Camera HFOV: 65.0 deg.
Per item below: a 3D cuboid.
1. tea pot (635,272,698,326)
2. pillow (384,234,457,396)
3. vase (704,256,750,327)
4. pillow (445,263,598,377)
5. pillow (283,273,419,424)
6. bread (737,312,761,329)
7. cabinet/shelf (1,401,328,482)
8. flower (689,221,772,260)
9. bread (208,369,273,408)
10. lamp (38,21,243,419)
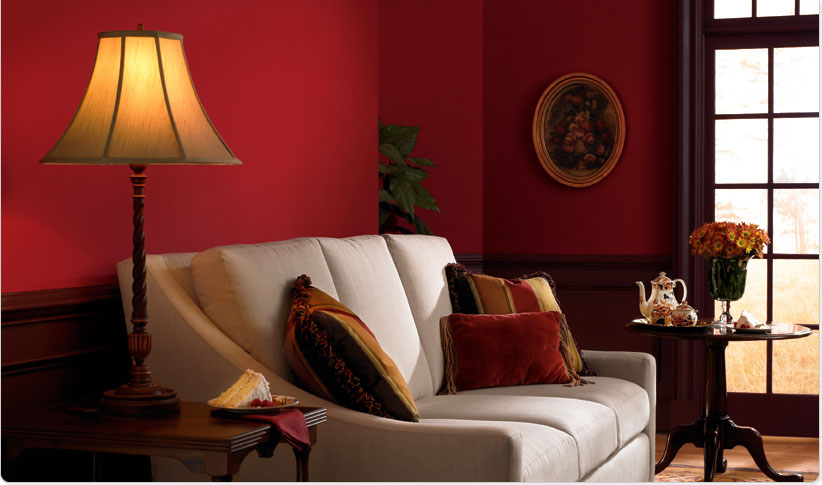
[{"bbox_3d":[1.605,0.372,4.177,0.455,0.436,0.317,1,-8,9],"label":"tea pot"},{"bbox_3d":[0.082,0.318,3.607,0.219,0.685,0.747,-13,0,17],"label":"pillow"},{"bbox_3d":[1.980,0.298,4.092,0.225,0.437,0.173,2,5,16],"label":"vase"},{"bbox_3d":[0.671,0.478,3.856,0.647,0.591,0.330,6,-15,-26],"label":"pillow"},{"bbox_3d":[-0.308,0.437,2.677,0.630,0.552,0.299,4,6,38],"label":"pillow"},{"bbox_3d":[2.010,0.476,3.899,0.139,0.053,0.087,18,10,25],"label":"bread"},{"bbox_3d":[-0.967,0.727,2.310,0.974,0.213,0.355,2,4,19],"label":"cabinet/shelf"},{"bbox_3d":[2.022,-0.019,4.081,0.314,0.149,0.325,2,5,39],"label":"flower"},{"bbox_3d":[-0.640,0.515,2.381,0.166,0.103,0.169,6,-10,-37],"label":"bread"},{"bbox_3d":[-0.992,-0.090,2.412,0.681,1.417,0.298,0,5,-11],"label":"lamp"}]
